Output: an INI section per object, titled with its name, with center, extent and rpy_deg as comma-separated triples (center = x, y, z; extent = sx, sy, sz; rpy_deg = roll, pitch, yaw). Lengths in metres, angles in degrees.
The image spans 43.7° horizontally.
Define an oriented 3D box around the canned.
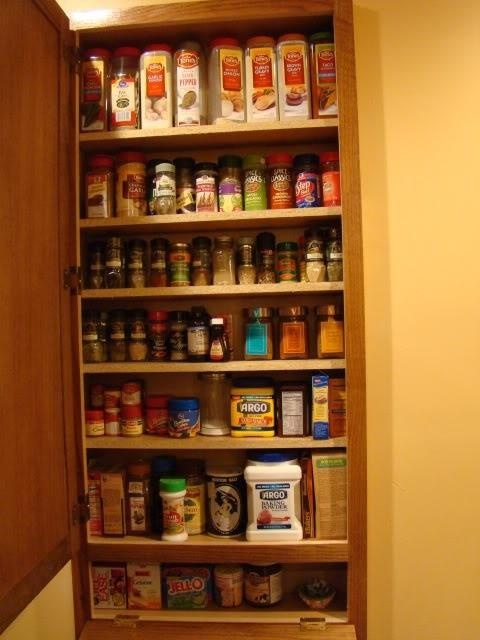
[canned]
center = 0.028, 0.708, 1.628
extent = 0.177, 0.110, 0.102
rpy_deg = -1, -1, 9
